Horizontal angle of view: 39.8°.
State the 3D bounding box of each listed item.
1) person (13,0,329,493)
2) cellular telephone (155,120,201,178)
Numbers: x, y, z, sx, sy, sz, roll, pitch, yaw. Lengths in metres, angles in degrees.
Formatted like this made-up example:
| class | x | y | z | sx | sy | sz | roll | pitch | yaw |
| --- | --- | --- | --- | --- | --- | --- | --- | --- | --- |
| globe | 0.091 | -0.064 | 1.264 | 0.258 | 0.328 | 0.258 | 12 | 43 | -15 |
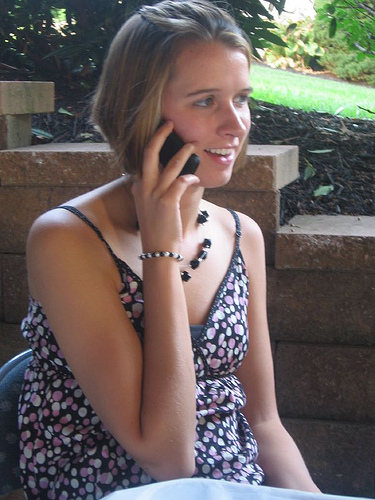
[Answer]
| class | x | y | z | sx | sy | sz | roll | pitch | yaw |
| --- | --- | --- | --- | --- | --- | --- | --- | --- | --- |
| person | -0.081 | -0.003 | 1.483 | 0.834 | 1.442 | 0.734 | -2 | 13 | -17 |
| cellular telephone | -0.032 | -0.299 | 1.519 | 0.136 | 0.157 | 0.068 | 3 | 13 | 7 |
